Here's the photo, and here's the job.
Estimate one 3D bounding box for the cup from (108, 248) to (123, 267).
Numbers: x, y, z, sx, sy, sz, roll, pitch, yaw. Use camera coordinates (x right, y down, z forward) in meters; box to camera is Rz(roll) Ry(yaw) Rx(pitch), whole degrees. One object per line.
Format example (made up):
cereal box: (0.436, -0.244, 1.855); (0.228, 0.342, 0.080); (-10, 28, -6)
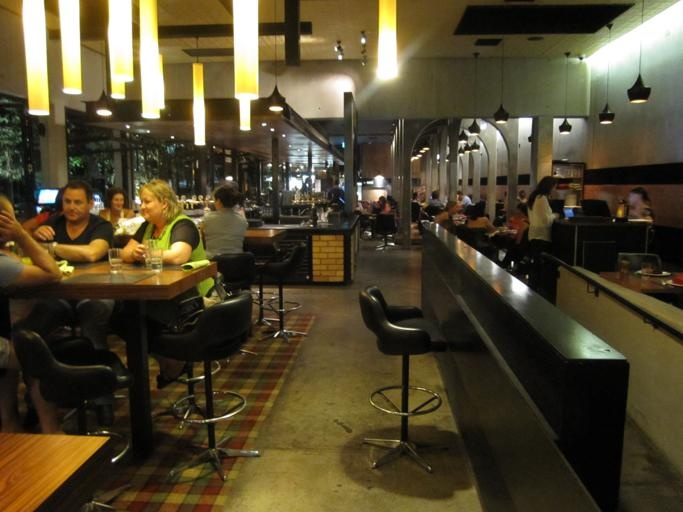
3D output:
cup: (-1.572, 0.009, 3.955); (0.078, 0.160, 0.210); (-5, 14, -22)

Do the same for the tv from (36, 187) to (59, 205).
tv: (-4.481, -0.914, 8.672); (0.470, 0.345, 0.065); (-1, -7, -2)
